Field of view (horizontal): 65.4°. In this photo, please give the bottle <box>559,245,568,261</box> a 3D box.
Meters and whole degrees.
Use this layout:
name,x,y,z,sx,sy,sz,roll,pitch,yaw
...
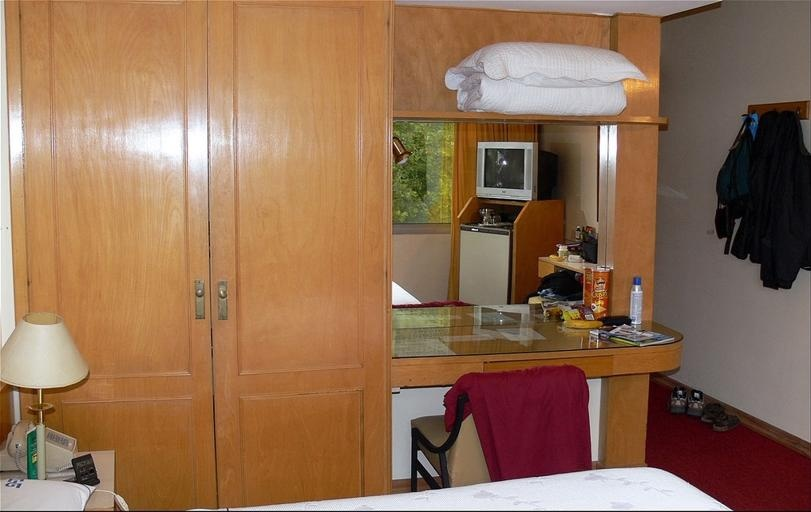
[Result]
name,x,y,z,sx,sy,sz,roll,pitch,yaw
bottle,1.027,-0.027,4.118,0.084,0.078,0.084,0,4,9

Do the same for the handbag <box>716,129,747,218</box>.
name,x,y,z,sx,sy,sz,roll,pitch,yaw
handbag,2.513,-0.680,4.807,0.220,0.551,0.155,9,18,39

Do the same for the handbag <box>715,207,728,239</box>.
name,x,y,z,sx,sy,sz,roll,pitch,yaw
handbag,2.466,-0.269,4.963,0.052,0.196,0.145,-3,2,5

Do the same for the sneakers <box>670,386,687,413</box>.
name,x,y,z,sx,sy,sz,roll,pitch,yaw
sneakers,2.214,1.151,5.147,0.115,0.085,0.223,-4,34,26

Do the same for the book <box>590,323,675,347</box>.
name,x,y,z,sx,sy,sz,roll,pitch,yaw
book,1.410,0.486,3.910,0.511,0.065,0.256,-3,15,0

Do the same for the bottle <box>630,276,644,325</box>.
name,x,y,z,sx,sy,sz,roll,pitch,yaw
bottle,1.494,0.282,4.076,0.089,0.315,0.221,2,15,20

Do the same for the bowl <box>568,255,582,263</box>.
name,x,y,z,sx,sy,sz,roll,pitch,yaw
bowl,1.107,0.016,4.118,0.074,0.049,0.053,1,3,12

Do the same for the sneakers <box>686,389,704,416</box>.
name,x,y,z,sx,sy,sz,roll,pitch,yaw
sneakers,2.347,1.183,5.126,0.094,0.146,0.310,-2,-4,25

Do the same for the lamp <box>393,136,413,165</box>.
name,x,y,z,sx,sy,sz,roll,pitch,yaw
lamp,-0.021,-0.652,3.858,0.085,0.190,0.085,-34,7,4

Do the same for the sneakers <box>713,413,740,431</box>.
name,x,y,z,sx,sy,sz,roll,pitch,yaw
sneakers,2.480,1.276,4.887,0.253,0.083,0.105,-12,17,-32
